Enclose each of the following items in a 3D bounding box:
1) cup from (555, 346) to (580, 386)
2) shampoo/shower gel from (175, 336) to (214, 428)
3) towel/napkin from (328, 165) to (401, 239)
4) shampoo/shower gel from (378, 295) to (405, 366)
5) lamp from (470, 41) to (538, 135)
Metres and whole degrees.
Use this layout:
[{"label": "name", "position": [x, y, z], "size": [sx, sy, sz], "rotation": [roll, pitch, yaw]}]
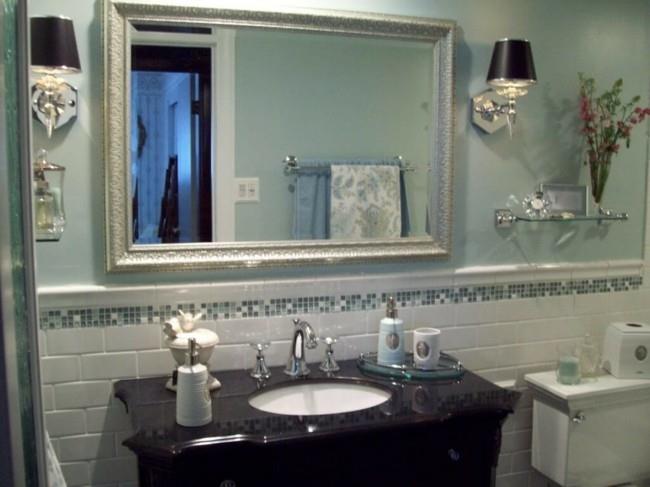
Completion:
[{"label": "cup", "position": [1.085, 0.576, 2.714], "size": [0.092, 0.146, 0.159], "rotation": [1, -3, 3]}, {"label": "shampoo/shower gel", "position": [-0.442, 0.435, 1.973], "size": [0.123, 0.291, 0.161], "rotation": [-2, 12, -13]}, {"label": "towel/napkin", "position": [0.148, -0.185, 2.507], "size": [0.274, 0.344, 0.016], "rotation": [-1, 4, -15]}, {"label": "shampoo/shower gel", "position": [0.268, 0.348, 2.394], "size": [0.112, 0.258, 0.123], "rotation": [2, 12, 6]}, {"label": "lamp", "position": [0.798, -0.672, 2.583], "size": [0.299, 0.393, 0.262], "rotation": [-1, 12, -9]}]
